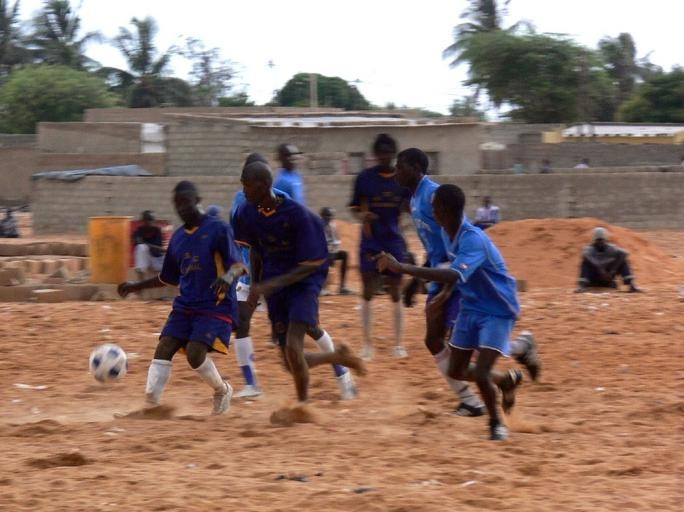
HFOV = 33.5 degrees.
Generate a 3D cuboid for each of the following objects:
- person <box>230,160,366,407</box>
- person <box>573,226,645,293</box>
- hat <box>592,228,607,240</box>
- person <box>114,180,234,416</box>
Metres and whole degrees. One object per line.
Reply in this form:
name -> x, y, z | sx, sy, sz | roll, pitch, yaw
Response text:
person -> -0.599, 0.304, 13.577 | 1.372, 2.896, 0.693 | -1, 3, -5
person -> 4.332, 0.065, 19.303 | 1.115, 0.950, 1.202 | -2, 5, -14
hat -> 4.455, -0.393, 19.681 | 0.307, 0.166, 0.322 | -2, 21, 3
person -> -1.740, 0.503, 13.686 | 1.210, 2.814, 0.548 | 1, 3, 21
